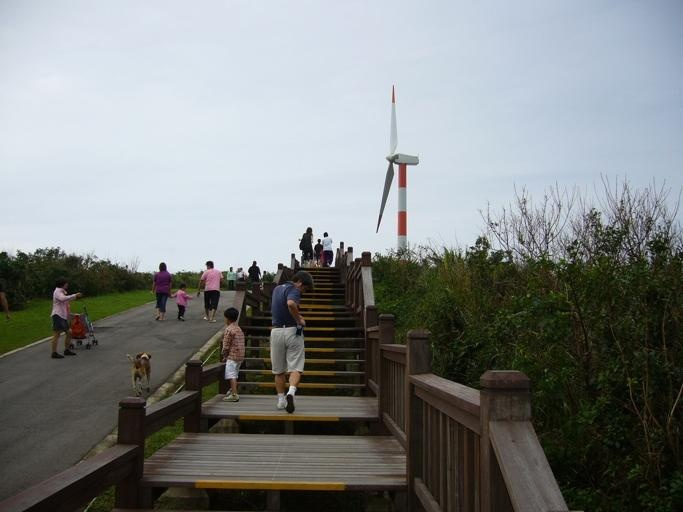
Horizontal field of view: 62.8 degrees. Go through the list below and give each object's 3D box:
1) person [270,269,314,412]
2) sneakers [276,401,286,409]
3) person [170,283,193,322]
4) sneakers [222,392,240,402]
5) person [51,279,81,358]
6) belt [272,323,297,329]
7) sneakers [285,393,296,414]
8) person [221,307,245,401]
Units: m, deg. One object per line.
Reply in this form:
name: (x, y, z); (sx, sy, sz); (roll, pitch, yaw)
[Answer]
person: (-0.728, 1.214, 8.043); (0.546, 1.990, 0.643); (2, -3, -13)
sneakers: (-0.851, 2.121, 7.966); (0.101, 0.141, 0.120); (3, -3, -18)
person: (-5.521, 1.638, 19.255); (0.679, 1.408, 0.503); (13, 17, 42)
sneakers: (-1.680, 2.173, 8.543); (0.251, 0.138, 0.103); (6, -5, -5)
person: (-6.019, 1.352, 12.191); (0.471, 1.691, 1.175); (3, -3, -26)
belt: (-0.808, 0.996, 8.009); (0.355, 0.080, 0.061); (1, -3, 10)
sneakers: (-0.705, 2.058, 7.778); (0.083, 0.288, 0.106); (-1, -2, 2)
person: (-1.718, 1.533, 8.839); (0.329, 1.390, 0.846); (2, -3, -12)
